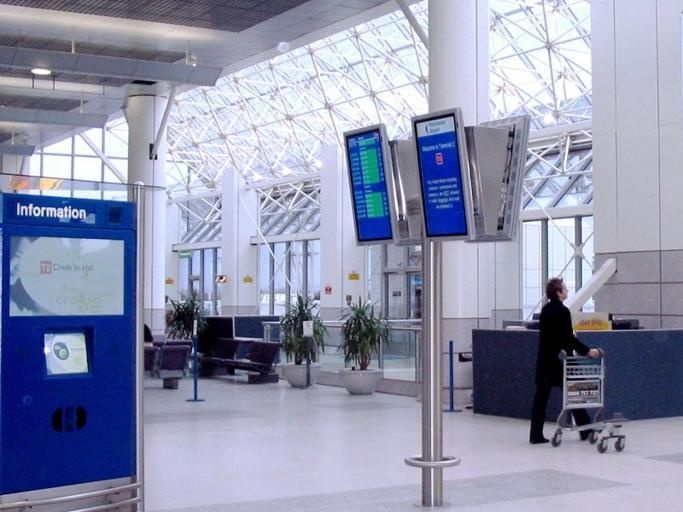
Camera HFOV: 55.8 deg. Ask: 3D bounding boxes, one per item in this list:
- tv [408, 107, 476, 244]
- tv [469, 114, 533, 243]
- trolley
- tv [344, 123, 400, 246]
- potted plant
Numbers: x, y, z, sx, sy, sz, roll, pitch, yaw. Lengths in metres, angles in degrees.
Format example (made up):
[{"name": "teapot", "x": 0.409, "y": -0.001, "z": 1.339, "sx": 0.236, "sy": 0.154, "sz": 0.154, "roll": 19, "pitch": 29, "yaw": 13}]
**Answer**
[{"name": "tv", "x": 0.918, "y": -0.737, "z": 5.960, "sx": 0.225, "sy": 1.185, "sz": 0.595, "roll": 3, "pitch": -6, "yaw": -43}, {"name": "tv", "x": 1.482, "y": -0.840, "z": 6.541, "sx": 0.630, "sy": 1.191, "sz": 0.912, "roll": -4, "pitch": 21, "yaw": -4}, {"name": "trolley", "x": 3.509, "y": 1.984, "z": 9.222, "sx": 0.941, "sy": 1.322, "sz": 1.587, "roll": -3, "pitch": -5, "yaw": 23}, {"name": "tv", "x": 0.284, "y": -0.714, "z": 6.561, "sx": 0.630, "sy": 1.167, "sz": 0.359, "roll": -5, "pitch": -6, "yaw": 40}, {"name": "potted plant", "x": -0.268, "y": 2.099, "z": 15.818, "sx": 1.554, "sy": 2.268, "sz": 2.945, "roll": 2, "pitch": -5, "yaw": -28}]
